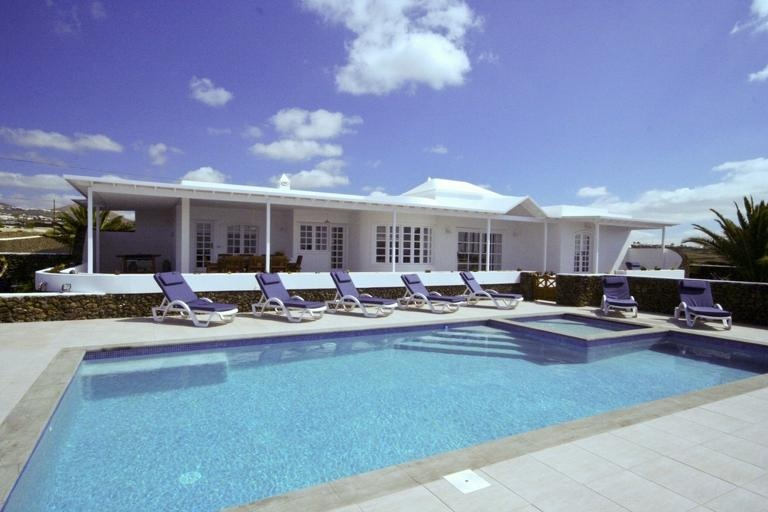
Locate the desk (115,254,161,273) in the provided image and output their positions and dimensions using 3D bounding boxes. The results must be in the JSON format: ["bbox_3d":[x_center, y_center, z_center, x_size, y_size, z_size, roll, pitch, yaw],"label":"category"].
[{"bbox_3d":[-9.619,0.240,17.066,1.137,0.870,3.180,-4,9,-27],"label":"desk"}]
